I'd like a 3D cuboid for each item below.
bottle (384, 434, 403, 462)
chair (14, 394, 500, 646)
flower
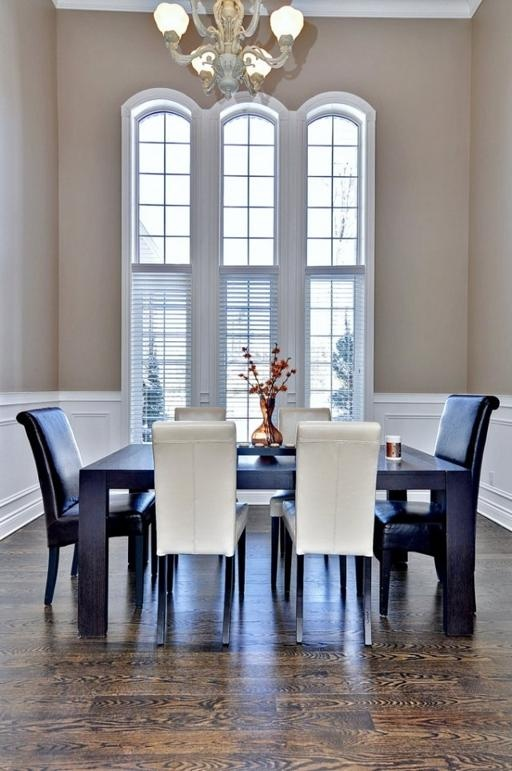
[{"bbox_3d":[0.590,0.286,3.132,0.083,0.136,0.088,0,-8,0],"label":"bottle"},{"bbox_3d":[0.053,0.499,3.005,1.935,0.908,0.811,0,3,1],"label":"chair"},{"bbox_3d":[0.056,0.082,3.550,0.244,0.480,0.224,-1,-13,-7],"label":"flower"}]
